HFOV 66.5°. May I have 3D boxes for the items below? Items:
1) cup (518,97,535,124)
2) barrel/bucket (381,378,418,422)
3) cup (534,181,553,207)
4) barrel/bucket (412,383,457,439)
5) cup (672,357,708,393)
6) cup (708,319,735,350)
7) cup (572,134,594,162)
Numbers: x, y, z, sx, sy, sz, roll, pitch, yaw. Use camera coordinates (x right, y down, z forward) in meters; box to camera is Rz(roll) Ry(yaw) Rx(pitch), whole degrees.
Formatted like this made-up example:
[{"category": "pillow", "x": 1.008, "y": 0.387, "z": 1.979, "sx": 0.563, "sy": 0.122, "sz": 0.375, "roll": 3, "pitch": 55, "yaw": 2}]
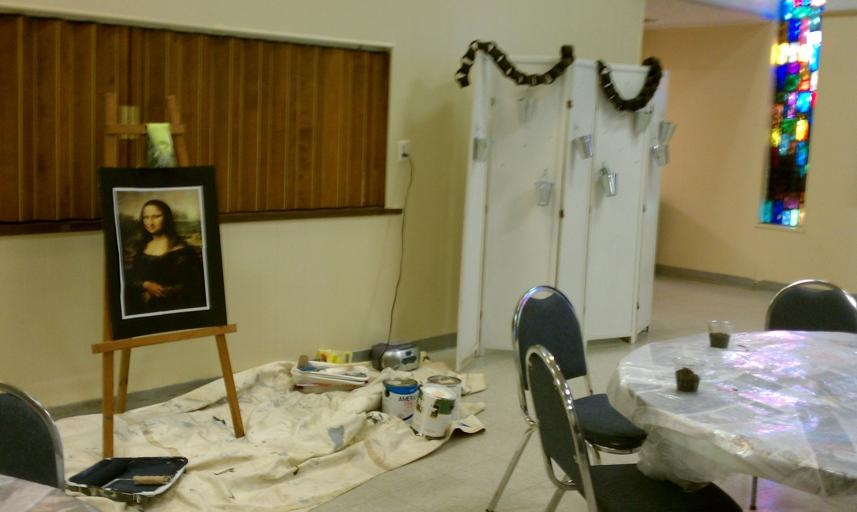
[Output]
[{"category": "cup", "x": 0.850, "y": -1.229, "z": 5.539, "sx": 0.176, "sy": 0.199, "sz": 0.091, "roll": -1, "pitch": 10, "yaw": -6}, {"category": "barrel/bucket", "x": -0.201, "y": 1.049, "z": 4.740, "sx": 0.275, "sy": 0.295, "sz": 0.268, "roll": 5, "pitch": 9, "yaw": -1}, {"category": "cup", "x": 1.002, "y": -0.527, "z": 5.626, "sx": 0.106, "sy": 0.224, "sz": 0.150, "roll": 6, "pitch": 11, "yaw": 33}, {"category": "barrel/bucket", "x": 0.044, "y": 1.072, "z": 4.512, "sx": 0.304, "sy": 0.317, "sz": 0.228, "roll": 0, "pitch": 9, "yaw": 0}, {"category": "cup", "x": 1.262, "y": 0.592, "z": 3.188, "sx": 0.159, "sy": 0.159, "sz": 0.158, "roll": 0, "pitch": -1, "yaw": 0}, {"category": "cup", "x": 1.605, "y": 0.447, "z": 3.562, "sx": 0.153, "sy": 0.140, "sz": 0.133, "roll": 7, "pitch": -6, "yaw": -43}, {"category": "cup", "x": 1.315, "y": -0.931, "z": 5.570, "sx": 0.161, "sy": 0.194, "sz": 0.121, "roll": 0, "pitch": 10, "yaw": 0}]
